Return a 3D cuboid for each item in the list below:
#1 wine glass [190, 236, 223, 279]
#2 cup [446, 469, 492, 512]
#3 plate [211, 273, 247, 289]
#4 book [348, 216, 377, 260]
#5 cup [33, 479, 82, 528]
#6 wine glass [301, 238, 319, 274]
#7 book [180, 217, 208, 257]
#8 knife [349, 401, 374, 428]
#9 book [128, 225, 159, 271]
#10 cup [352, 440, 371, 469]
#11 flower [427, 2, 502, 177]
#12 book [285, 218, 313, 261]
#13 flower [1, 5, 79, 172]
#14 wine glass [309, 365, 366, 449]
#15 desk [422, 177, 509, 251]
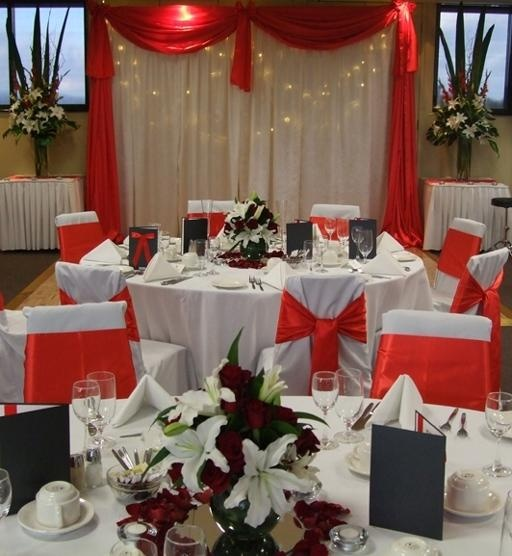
[{"bbox_3d":[-0.275,-0.144,3.031,0.168,0.292,0.298,1,18,2],"label":"wine glass"},{"bbox_3d":[0.388,0.393,0.853,0.062,0.064,0.067,-1,6,0],"label":"cup"},{"bbox_3d":[-0.159,0.016,2.811,0.219,0.044,0.375,0,9,-3],"label":"plate"},{"bbox_3d":[0.728,-0.264,3.201,0.187,0.280,0.418,2,9,12],"label":"book"},{"bbox_3d":[-0.343,0.391,0.798,0.044,0.055,0.080,0,16,-8],"label":"cup"},{"bbox_3d":[0.343,-0.139,2.995,0.091,0.302,0.088,5,33,13],"label":"wine glass"},{"bbox_3d":[-0.445,-0.298,3.308,0.221,0.250,0.057,0,11,-19],"label":"book"},{"bbox_3d":[0.290,0.378,1.262,0.026,0.027,0.242,18,12,20],"label":"knife"},{"bbox_3d":[-0.737,-0.194,2.957,0.179,0.283,0.098,1,4,0],"label":"book"},{"bbox_3d":[0.232,0.389,1.025,0.043,0.035,0.037,-9,21,-7],"label":"cup"},{"bbox_3d":[3.285,-2.904,7.250,1.156,2.713,0.937,-1,8,-9],"label":"flower"},{"bbox_3d":[0.299,-0.266,3.048,0.229,0.242,0.059,2,4,-9],"label":"book"},{"bbox_3d":[-3.431,-2.951,7.274,1.222,2.728,0.955,8,11,43],"label":"flower"},{"bbox_3d":[0.204,0.295,1.248,0.156,0.257,0.156,4,17,23],"label":"wine glass"},{"bbox_3d":[3.212,-1.248,7.611,1.381,1.164,1.483,0,12,6],"label":"desk"}]
